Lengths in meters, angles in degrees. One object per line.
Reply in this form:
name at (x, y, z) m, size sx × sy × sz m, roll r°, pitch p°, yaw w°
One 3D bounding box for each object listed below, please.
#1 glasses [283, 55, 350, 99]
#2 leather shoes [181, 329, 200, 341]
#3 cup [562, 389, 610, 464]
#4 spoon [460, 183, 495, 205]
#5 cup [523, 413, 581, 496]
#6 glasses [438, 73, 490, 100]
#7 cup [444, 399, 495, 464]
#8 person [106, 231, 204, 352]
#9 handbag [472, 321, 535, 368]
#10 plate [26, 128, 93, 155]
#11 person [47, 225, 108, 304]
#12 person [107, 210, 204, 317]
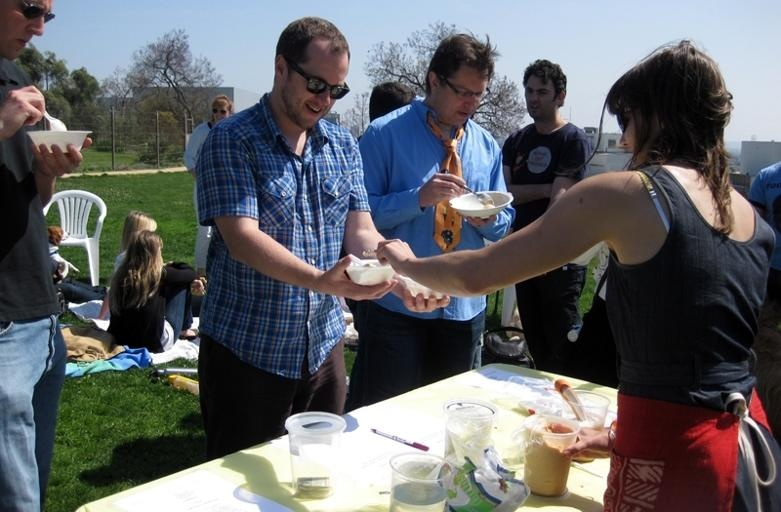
glasses at (-0.337, -0.813, 2.742) m, size 0.280 × 0.159 × 0.073 m, roll 2°, pitch 6°, yaw -12°
leather shoes at (-2.104, 0.844, 6.235) m, size 0.158 × 0.067 × 0.088 m, roll 3°, pitch 1°, yaw 22°
cup at (0.844, 0.716, 2.506) m, size 0.225 × 0.259 × 0.242 m, roll -1°, pitch -2°, yaw 0°
spoon at (0.509, -0.363, 3.454) m, size 0.040 × 0.075 × 0.275 m, roll 10°, pitch 17°, yaw -39°
cup at (0.574, 0.780, 2.338) m, size 0.235 × 0.285 × 0.255 m, roll 2°, pitch -3°, yaw 0°
glasses at (0.402, -1.023, 3.572) m, size 0.187 × 0.057 × 0.188 m, roll 0°, pitch 39°, yaw -42°
cup at (0.295, 0.659, 2.218) m, size 0.169 × 0.145 × 0.177 m, roll 2°, pitch 7°, yaw 0°
person at (-2.304, 0.356, 5.826) m, size 0.812 × 1.201 × 0.403 m, roll -3°, pitch 9°, yaw -45°
handbag at (0.940, 0.741, 4.739) m, size 0.377 × 0.178 × 0.501 m, roll 3°, pitch 0°, yaw 24°
plate at (-1.545, -0.545, 2.774) m, size 0.183 × 0.063 × 0.185 m, roll -3°, pitch 8°, yaw -3°
person at (-3.900, 0.119, 7.429) m, size 0.410 × 0.979 × 0.647 m, roll -14°, pitch -3°, yaw 8°
person at (-2.671, 0.005, 6.379) m, size 0.966 × 1.361 × 0.906 m, roll 3°, pitch 5°, yaw 19°
